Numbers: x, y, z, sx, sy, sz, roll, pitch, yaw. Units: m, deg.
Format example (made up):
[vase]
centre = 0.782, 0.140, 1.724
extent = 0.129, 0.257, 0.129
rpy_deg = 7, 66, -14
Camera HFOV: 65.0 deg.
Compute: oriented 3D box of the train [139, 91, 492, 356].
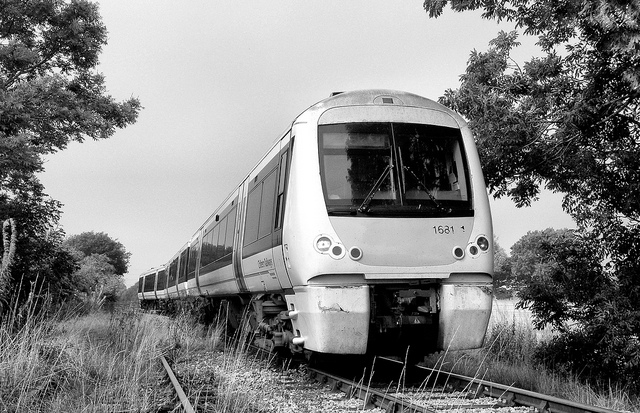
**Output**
[train]
centre = -0.273, 0.767, 10.765
extent = 2.942, 4.683, 7.244
rpy_deg = 14, -19, -30
